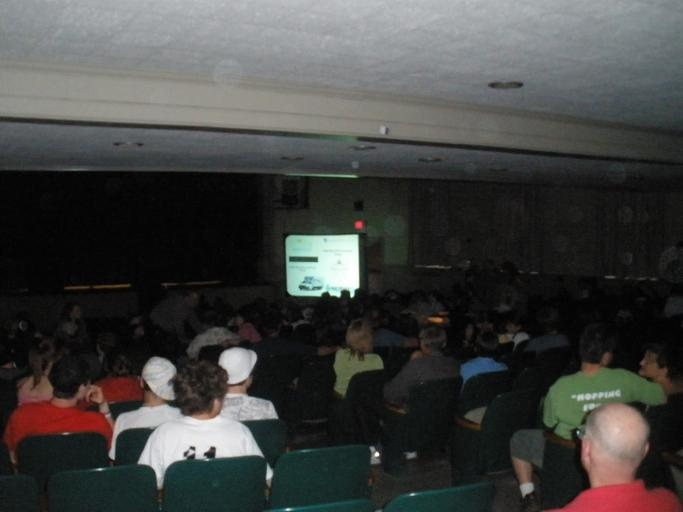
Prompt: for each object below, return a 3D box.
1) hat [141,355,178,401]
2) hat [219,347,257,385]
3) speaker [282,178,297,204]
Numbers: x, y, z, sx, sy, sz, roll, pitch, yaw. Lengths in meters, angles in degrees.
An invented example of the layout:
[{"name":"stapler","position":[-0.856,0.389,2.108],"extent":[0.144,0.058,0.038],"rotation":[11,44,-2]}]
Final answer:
[{"name":"hat","position":[-1.302,0.883,3.941],"extent":[0.228,0.307,0.215],"rotation":[0,0,-11]},{"name":"hat","position":[-0.761,0.792,3.997],"extent":[0.198,0.262,0.373],"rotation":[0,-1,19]},{"name":"speaker","position":[-1.380,-1.696,14.912],"extent":[0.465,0.760,0.196],"rotation":[0,0,0]}]
